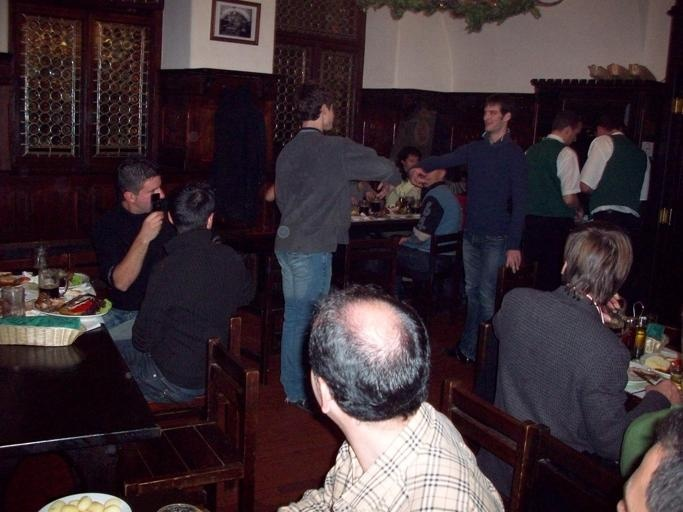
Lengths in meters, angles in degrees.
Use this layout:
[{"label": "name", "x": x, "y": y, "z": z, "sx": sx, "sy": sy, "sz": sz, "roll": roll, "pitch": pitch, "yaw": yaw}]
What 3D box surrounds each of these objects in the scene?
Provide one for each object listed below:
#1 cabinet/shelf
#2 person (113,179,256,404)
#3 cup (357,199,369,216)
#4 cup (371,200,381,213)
[{"label": "cabinet/shelf", "x": 2.296, "y": -1.082, "z": 5.181, "sx": 0.778, "sy": 1.246, "sz": 1.198, "roll": -5, "pitch": 11, "yaw": -28}, {"label": "person", "x": -0.743, "y": 0.200, "z": 2.485, "sx": 0.657, "sy": 1.015, "sz": 0.474, "roll": 0, "pitch": 14, "yaw": -10}, {"label": "cup", "x": 0.230, "y": -0.516, "z": 5.709, "sx": 0.138, "sy": 0.166, "sz": 0.146, "roll": 1, "pitch": 0, "yaw": 0}, {"label": "cup", "x": 0.367, "y": -0.532, "z": 5.749, "sx": 0.104, "sy": 0.116, "sz": 0.203, "roll": -1, "pitch": 0, "yaw": 3}]
